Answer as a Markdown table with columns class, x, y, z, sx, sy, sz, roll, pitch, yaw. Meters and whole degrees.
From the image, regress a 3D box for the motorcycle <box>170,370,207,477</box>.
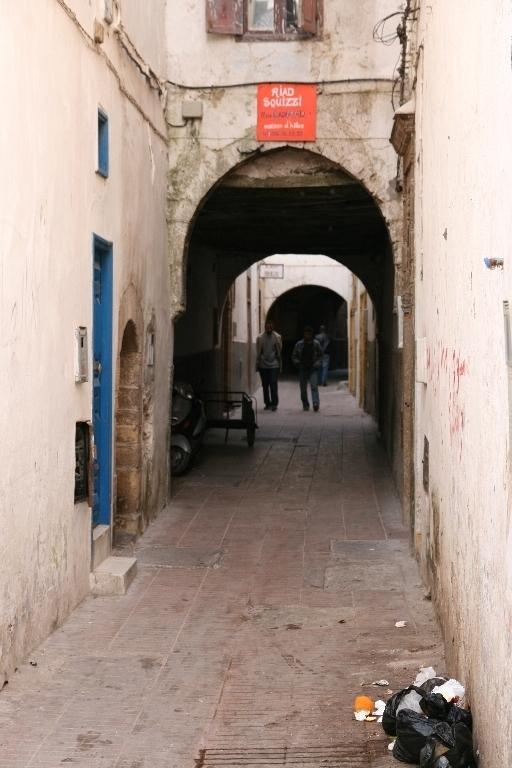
| class | x | y | z | sx | sy | sz | roll | pitch | yaw |
| --- | --- | --- | --- | --- | --- | --- | --- | --- | --- |
| motorcycle | -0.927 | 0.468 | 9.992 | 0.344 | 1.128 | 1.408 | -4 | 4 | 10 |

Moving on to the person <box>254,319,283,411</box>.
| class | x | y | z | sx | sy | sz | roll | pitch | yaw |
| --- | --- | --- | --- | --- | --- | --- | --- | --- | --- |
| person | 0.244 | -0.440 | 16.844 | 0.361 | 2.343 | 0.562 | 4 | 5 | 11 |
